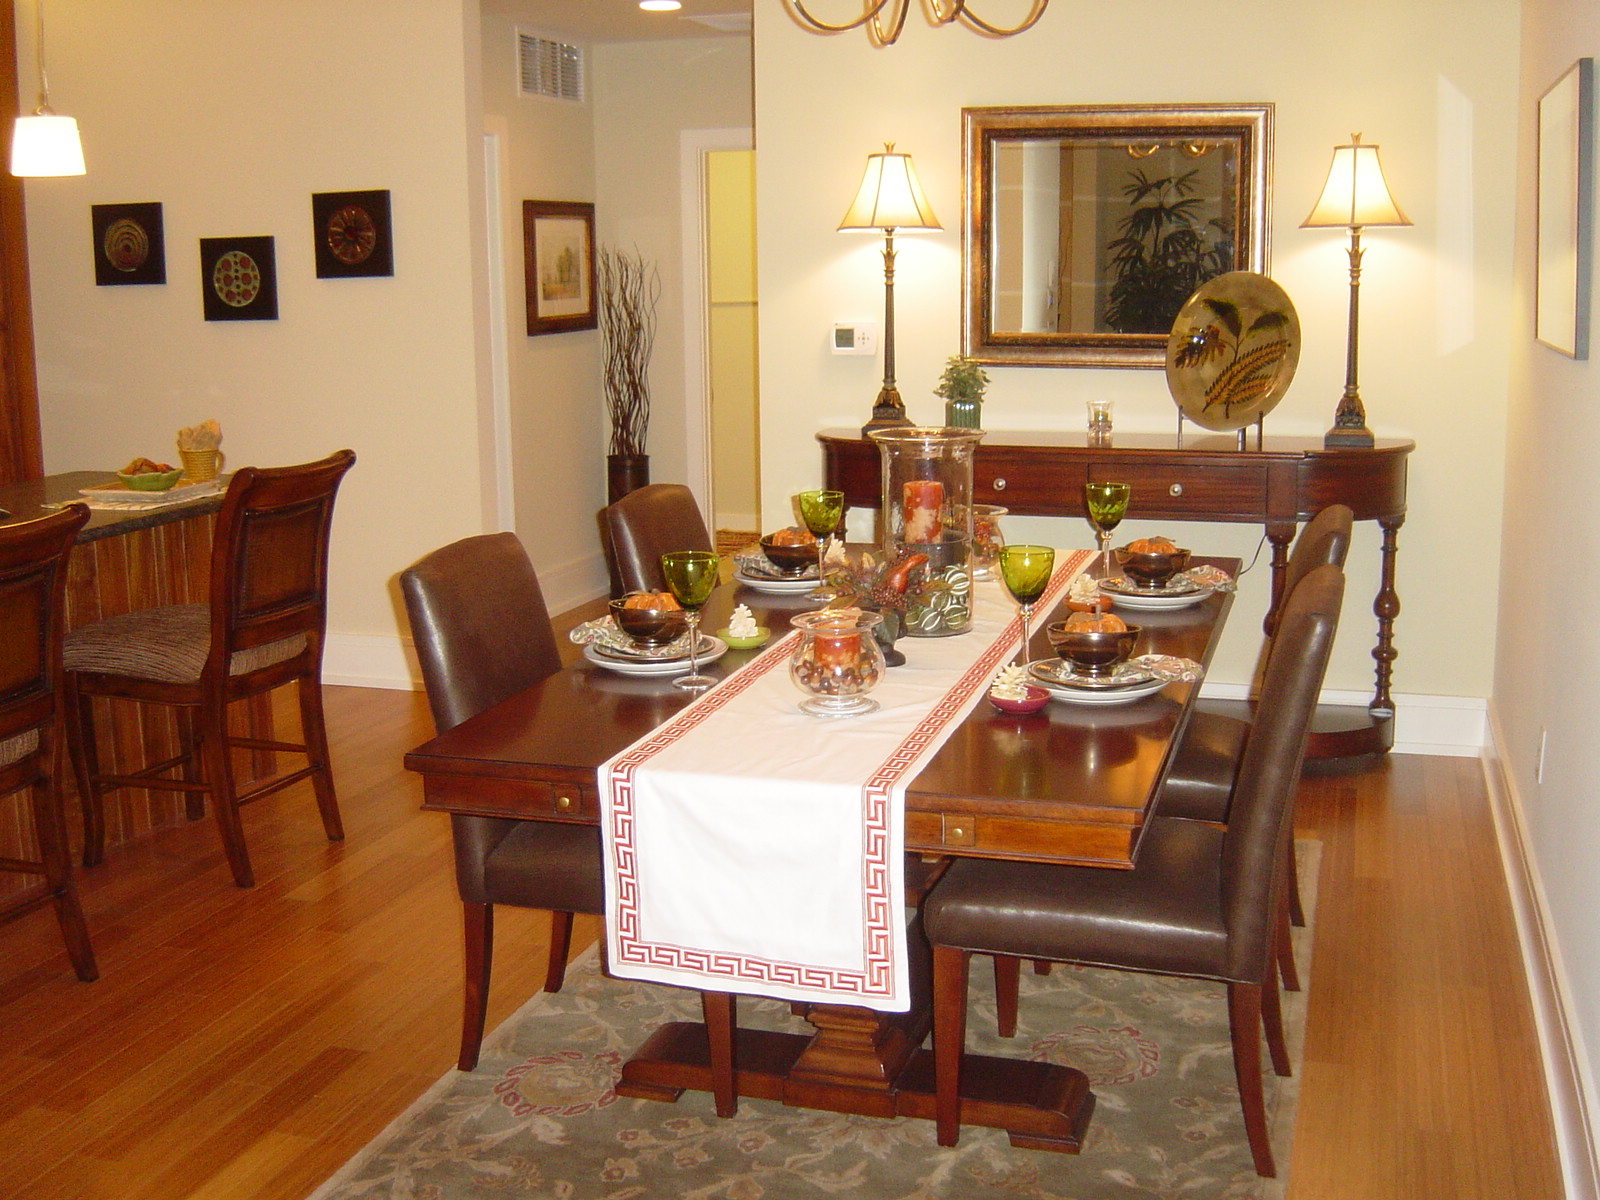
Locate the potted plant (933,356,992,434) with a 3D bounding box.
[{"bbox_3d":[0.630,-0.797,4.813,0.195,0.270,0.423,1,14,9],"label":"potted plant"}]

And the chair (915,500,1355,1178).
[{"bbox_3d":[0.644,0.483,3.162,1.106,1.941,1.314,5,12,18],"label":"chair"}]

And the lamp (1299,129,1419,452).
[{"bbox_3d":[1.948,-1.114,4.432,0.354,1.084,0.557,6,15,25],"label":"lamp"}]

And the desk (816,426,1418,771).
[{"bbox_3d":[1.148,-0.040,4.928,2.277,1.321,0.656,3,21,21],"label":"desk"}]

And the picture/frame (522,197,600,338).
[{"bbox_3d":[-1.333,-1.835,6.843,0.060,0.805,0.779,6,14,22],"label":"picture/frame"}]

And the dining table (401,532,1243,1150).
[{"bbox_3d":[0.428,0.558,3.203,1.492,0.864,2.401,-5,4,33],"label":"dining table"}]

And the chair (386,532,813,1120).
[{"bbox_3d":[-0.468,0.429,2.793,0.681,1.122,0.593,3,17,15],"label":"chair"}]

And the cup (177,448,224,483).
[{"bbox_3d":[-2.080,-0.471,4.333,0.140,0.104,0.117,-1,7,-28],"label":"cup"}]

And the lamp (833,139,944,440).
[{"bbox_3d":[0.348,-1.234,4.831,0.392,1.067,0.505,1,14,6],"label":"lamp"}]

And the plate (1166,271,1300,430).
[{"bbox_3d":[1.535,-0.886,4.430,0.431,0.549,0.187,3,14,16],"label":"plate"}]

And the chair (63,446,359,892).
[{"bbox_3d":[-1.816,0.179,3.874,0.672,1.276,0.662,8,13,17],"label":"chair"}]

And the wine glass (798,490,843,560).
[{"bbox_3d":[0.057,-0.193,3.137,0.142,0.250,0.159,0,6,-1],"label":"wine glass"}]

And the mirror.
[{"bbox_3d":[1.208,-1.387,4.788,1.187,1.054,0.070,0,-1,-2],"label":"mirror"}]

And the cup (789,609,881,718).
[{"bbox_3d":[0.070,0.099,2.292,0.176,0.195,0.167,-1,9,0],"label":"cup"}]

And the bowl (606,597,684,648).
[{"bbox_3d":[-0.315,0.032,2.539,0.108,0.066,0.111,3,9,0],"label":"bowl"}]
